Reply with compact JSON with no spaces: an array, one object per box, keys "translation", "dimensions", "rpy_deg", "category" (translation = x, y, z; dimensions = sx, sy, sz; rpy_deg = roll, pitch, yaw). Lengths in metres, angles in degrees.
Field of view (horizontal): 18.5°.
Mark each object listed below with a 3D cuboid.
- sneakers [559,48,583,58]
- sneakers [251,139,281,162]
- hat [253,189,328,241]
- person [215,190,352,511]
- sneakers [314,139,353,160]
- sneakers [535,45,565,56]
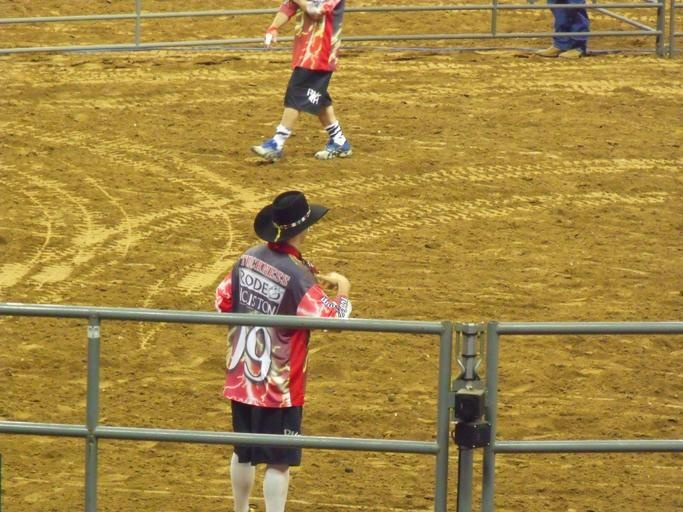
[{"translation":[2.895,-2.671,27.812],"dimensions":[0.286,0.076,0.122],"rpy_deg":[1,9,-4],"category":"sneakers"},{"translation":[-1.011,-1.228,24.797],"dimensions":[0.421,0.188,0.172],"rpy_deg":[-2,-22,24],"category":"sneakers"},{"translation":[-0.616,-0.386,19.998],"dimensions":[0.652,0.200,0.605],"rpy_deg":[-32,39,-33],"category":"hat"},{"translation":[-0.707,0.977,19.918],"dimensions":[1.269,3.071,1.034],"rpy_deg":[2,13,2],"category":"person"},{"translation":[-0.274,-1.255,24.936],"dimensions":[0.554,0.162,0.177],"rpy_deg":[-6,16,-14],"category":"sneakers"},{"translation":[2.603,-2.711,27.905],"dimensions":[0.404,0.146,0.219],"rpy_deg":[3,10,16],"category":"sneakers"}]
